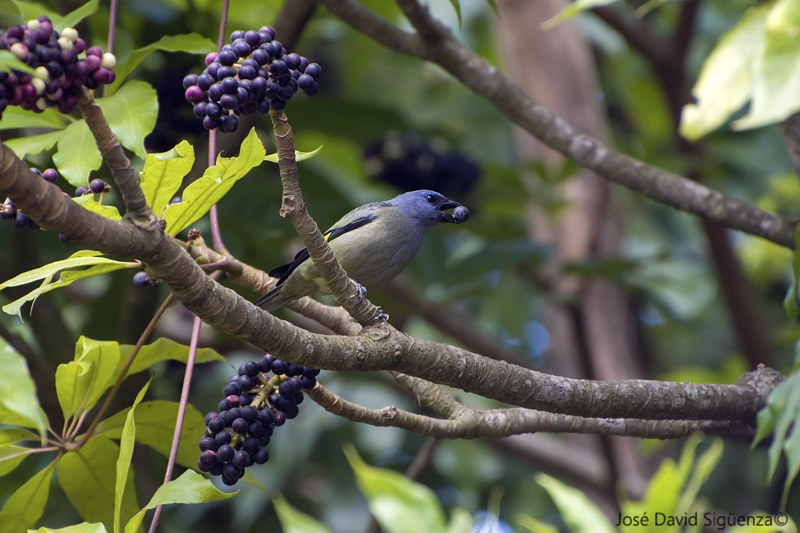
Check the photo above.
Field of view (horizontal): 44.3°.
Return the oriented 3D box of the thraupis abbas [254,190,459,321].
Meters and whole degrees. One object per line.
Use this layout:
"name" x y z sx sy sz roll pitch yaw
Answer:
"thraupis abbas" -0.285 -0.060 5.202 1.292 0.396 0.572 -10 59 21
